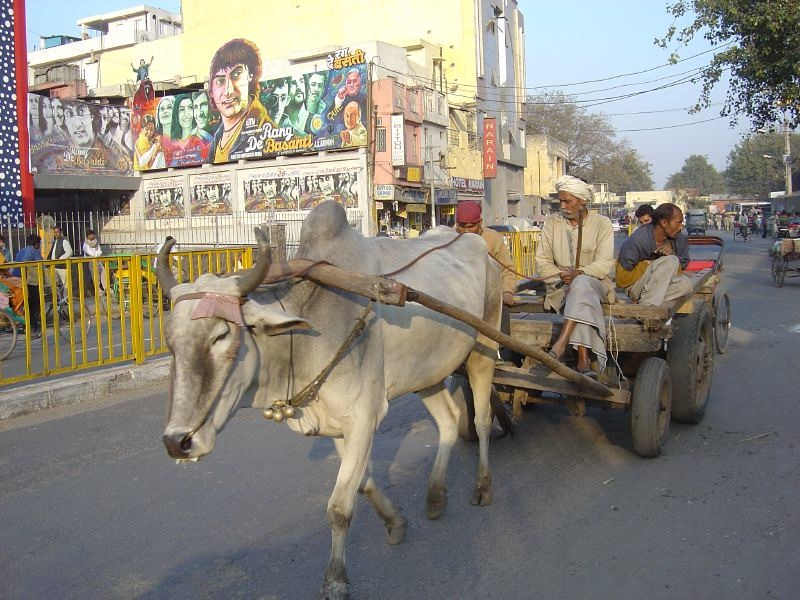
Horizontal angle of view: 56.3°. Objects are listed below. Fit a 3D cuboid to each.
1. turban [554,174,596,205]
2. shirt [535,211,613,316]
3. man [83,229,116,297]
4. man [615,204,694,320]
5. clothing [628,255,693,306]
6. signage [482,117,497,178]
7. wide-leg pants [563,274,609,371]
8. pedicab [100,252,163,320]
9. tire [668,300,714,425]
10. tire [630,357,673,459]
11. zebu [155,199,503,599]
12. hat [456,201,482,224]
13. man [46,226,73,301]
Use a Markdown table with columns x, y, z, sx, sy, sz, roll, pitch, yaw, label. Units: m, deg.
| x | y | z | sx | sy | sz | roll | pitch | yaw | label |
| --- | --- | --- | --- | --- | --- | --- | --- | --- | --- |
| 1.680 | -1.042 | 7.108 | 0.485 | 0.285 | 0.271 | -10 | 12 | -34 | turban |
| 1.673 | -0.278 | 7.248 | 0.704 | 1.168 | 0.551 | 6 | -8 | 14 | shirt |
| -6.683 | -0.831 | 16.470 | 0.358 | 1.427 | 0.353 | -8 | 10 | 8 | man |
| 2.724 | -0.401 | 7.659 | 0.863 | 1.503 | 0.896 | 3 | 5 | 36 | man |
| 2.493 | -0.175 | 7.122 | 0.409 | 0.278 | 0.584 | -8 | 11 | -13 | clothing |
| 4.581 | -7.778 | 37.783 | 0.910 | 3.552 | 0.541 | -1 | 42 | 5 | signage |
| 1.601 | 0.144 | 6.470 | 0.393 | 0.840 | 0.289 | 6 | -8 | 42 | wide-leg pants |
| -4.248 | -0.273 | 11.963 | 1.031 | 0.912 | 0.696 | -9 | 13 | -12 | pedicab |
| 2.729 | 0.601 | 7.048 | 0.479 | 1.244 | 1.012 | 4 | 0 | 28 | tire |
| 2.165 | 0.950 | 6.424 | 0.239 | 0.923 | 0.745 | 5 | 3 | 21 | tire |
| -0.297 | 0.576 | 5.163 | 0.794 | 2.477 | 2.922 | 6 | 13 | 40 | zebu |
| 0.672 | -0.864 | 7.207 | 0.166 | 0.216 | 0.249 | 6 | 18 | 29 | hat |
| -6.695 | -0.660 | 14.639 | 0.455 | 1.512 | 0.399 | 0 | 6 | 19 | man |
